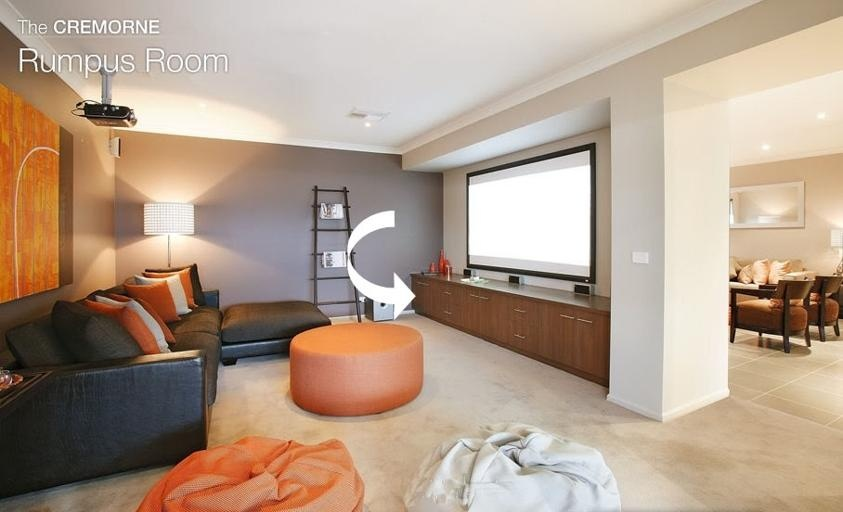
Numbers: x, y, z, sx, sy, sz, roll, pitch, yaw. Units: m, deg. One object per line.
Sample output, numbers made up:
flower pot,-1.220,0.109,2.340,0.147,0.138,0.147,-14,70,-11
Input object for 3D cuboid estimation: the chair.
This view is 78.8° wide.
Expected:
chair,5.145,0.760,7.328,1.589,0.968,0.800,0,4,-33

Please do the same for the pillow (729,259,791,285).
pillow,5.708,0.267,8.594,0.608,0.208,0.601,-20,6,-37

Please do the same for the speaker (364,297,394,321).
speaker,-0.715,0.868,8.368,0.378,0.347,0.372,2,-2,-34

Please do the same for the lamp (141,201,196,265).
lamp,-3.558,-0.303,7.169,0.597,0.892,0.578,0,4,-28

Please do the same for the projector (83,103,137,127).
projector,-3.231,-1.482,5.335,0.441,0.203,0.373,1,3,-22

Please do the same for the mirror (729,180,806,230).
mirror,6.294,-0.931,9.251,0.033,0.731,1.154,-4,5,-35

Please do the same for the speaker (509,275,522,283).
speaker,1.355,0.339,7.485,0.106,0.108,0.189,2,-2,-29

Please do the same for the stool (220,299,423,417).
stool,-1.146,1.172,5.921,2.182,0.832,1.093,4,4,43

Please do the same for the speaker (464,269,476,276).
speaker,0.786,0.269,8.417,0.103,0.116,0.185,1,-3,-32
